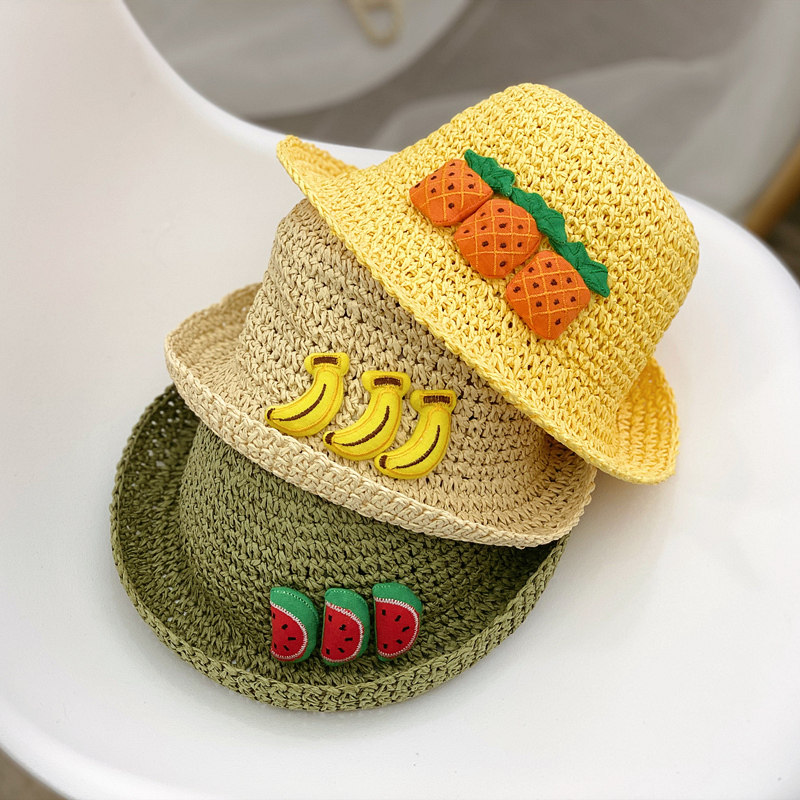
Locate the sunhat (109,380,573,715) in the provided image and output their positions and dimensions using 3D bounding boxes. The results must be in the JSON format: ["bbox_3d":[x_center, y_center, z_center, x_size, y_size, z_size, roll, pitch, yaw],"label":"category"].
[{"bbox_3d":[-0.144,0.082,1.300,0.349,0.142,0.460,-1,53,28],"label":"sunhat"}]
